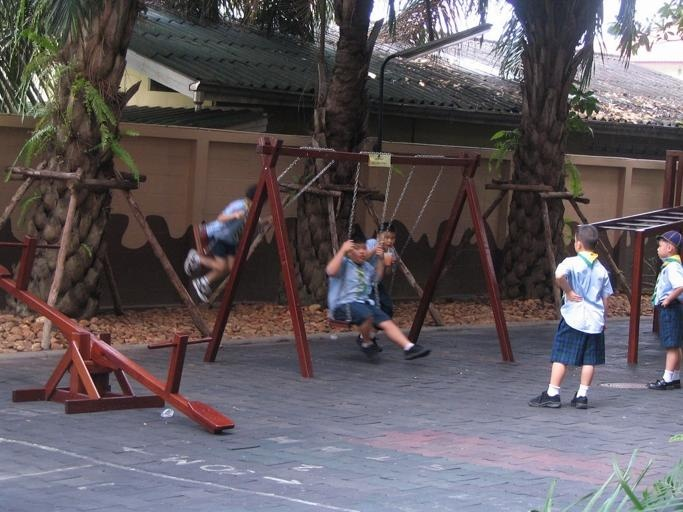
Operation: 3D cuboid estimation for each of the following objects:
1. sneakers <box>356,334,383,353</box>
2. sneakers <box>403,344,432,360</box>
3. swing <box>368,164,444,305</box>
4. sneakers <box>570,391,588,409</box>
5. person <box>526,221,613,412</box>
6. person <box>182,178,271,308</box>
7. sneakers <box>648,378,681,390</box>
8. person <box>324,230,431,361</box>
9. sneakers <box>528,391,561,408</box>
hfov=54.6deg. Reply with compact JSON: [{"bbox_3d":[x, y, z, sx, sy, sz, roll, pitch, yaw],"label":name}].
[{"bbox_3d":[0.338,1.104,8.353,0.181,0.178,0.464,-2,3,-31],"label":"sneakers"},{"bbox_3d":[0.856,1.104,7.550,0.307,0.122,0.141,-10,-5,23],"label":"sneakers"},{"bbox_3d":[1.071,-0.410,11.499,0.193,0.420,3.814,5,45,24],"label":"swing"},{"bbox_3d":[2.331,1.413,6.503,0.152,0.145,0.157,6,9,18],"label":"sneakers"},{"bbox_3d":[2.327,0.617,6.620,0.629,1.801,0.858,7,10,21],"label":"person"},{"bbox_3d":[-1.548,-0.263,9.283,1.027,1.801,0.910,12,-11,-6],"label":"person"},{"bbox_3d":[3.577,1.427,7.406,0.375,0.118,0.126,2,0,0],"label":"sneakers"},{"bbox_3d":[0.255,0.505,7.993,0.891,1.464,1.042,2,9,-6],"label":"person"},{"bbox_3d":[1.981,1.412,6.500,0.294,0.124,0.137,4,1,18],"label":"sneakers"}]
